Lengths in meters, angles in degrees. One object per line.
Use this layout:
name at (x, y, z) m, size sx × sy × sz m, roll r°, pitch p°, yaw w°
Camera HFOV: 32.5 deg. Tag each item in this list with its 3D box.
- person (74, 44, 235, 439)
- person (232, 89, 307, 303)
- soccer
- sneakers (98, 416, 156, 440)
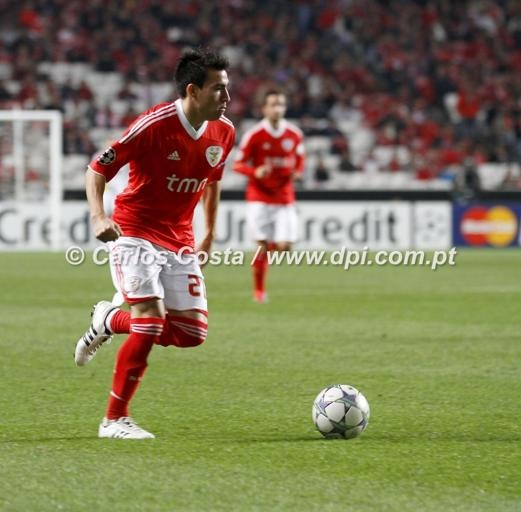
person at (-0.461, -0.064, 4.114) m, size 0.778 × 1.731 × 0.524 m, roll 3°, pitch 3°, yaw -27°
person at (0.073, -0.575, 8.745) m, size 0.701 × 2.060 × 0.790 m, roll 4°, pitch 2°, yaw -1°
soccer at (0.364, 0.706, 3.983) m, size 0.194 × 0.182 × 0.218 m, roll 45°, pitch -27°, yaw -26°
sneakers at (-0.598, 0.757, 3.891) m, size 0.293 × 0.074 × 0.085 m, roll 1°, pitch -5°, yaw 5°
